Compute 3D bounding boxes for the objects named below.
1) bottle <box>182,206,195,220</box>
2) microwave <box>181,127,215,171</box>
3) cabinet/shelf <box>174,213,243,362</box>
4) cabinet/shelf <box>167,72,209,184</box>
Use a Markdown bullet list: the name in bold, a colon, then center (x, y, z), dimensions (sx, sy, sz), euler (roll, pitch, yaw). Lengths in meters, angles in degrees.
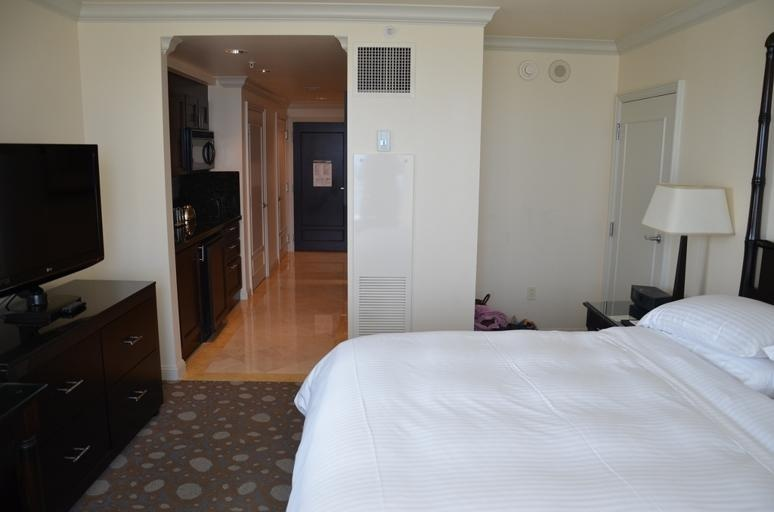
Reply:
- **bottle**: center (-2.112, -0.461, 5.602), dimensions (0.138, 0.133, 0.137), euler (-10, 40, -41)
- **microwave**: center (-1.948, -1.106, 5.398), dimensions (0.298, 0.357, 0.540), euler (-1, 16, -8)
- **cabinet/shelf**: center (-1.757, 0.319, 5.119), dimensions (0.342, 0.595, 1.319), euler (-4, 16, -10)
- **cabinet/shelf**: center (-1.980, -1.286, 5.203), dimensions (0.415, 1.014, 1.173), euler (-1, 17, -10)
